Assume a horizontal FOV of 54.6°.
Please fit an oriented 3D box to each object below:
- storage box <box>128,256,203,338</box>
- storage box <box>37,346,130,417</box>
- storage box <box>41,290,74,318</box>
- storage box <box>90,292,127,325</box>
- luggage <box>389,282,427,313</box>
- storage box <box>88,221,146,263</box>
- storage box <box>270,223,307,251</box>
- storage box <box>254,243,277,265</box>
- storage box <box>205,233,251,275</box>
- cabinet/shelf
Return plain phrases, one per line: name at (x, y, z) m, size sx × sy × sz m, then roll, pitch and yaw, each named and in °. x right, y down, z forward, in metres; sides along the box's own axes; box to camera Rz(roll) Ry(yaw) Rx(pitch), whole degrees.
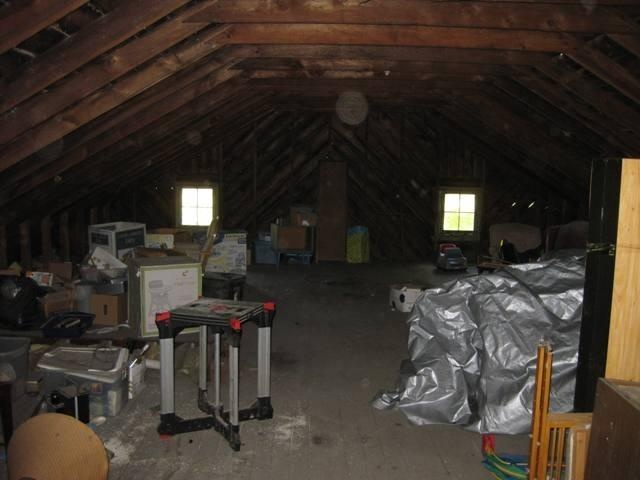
storage box at (-1.332, 0.434, 5.243) m, size 0.643 × 0.545 × 0.667 m, roll 5°, pitch 8°, yaw 37°
storage box at (-1.924, 1.073, 5.015) m, size 0.579 × 0.266 × 0.554 m, roll 5°, pitch 17°, yaw 2°
storage box at (-2.641, 0.617, 6.239) m, size 0.271 × 0.075 × 0.266 m, roll -16°, pitch 20°, yaw -37°
storage box at (-1.885, 0.583, 5.590) m, size 0.264 × 0.289 × 0.269 m, roll 3°, pitch 13°, yaw 4°
luggage at (1.131, 0.724, 7.980) m, size 0.480 × 0.255 × 0.352 m, roll 1°, pitch 5°, yaw 11°
storage box at (-2.440, -0.069, 7.262) m, size 0.549 × 0.444 × 0.573 m, roll 9°, pitch 14°, yaw 28°
storage box at (-0.564, -0.096, 11.049) m, size 0.460 × 0.319 × 0.472 m, roll -1°, pitch 5°, yaw -11°
storage box at (-0.980, 0.194, 11.585) m, size 0.478 × 0.505 × 0.353 m, roll 1°, pitch 3°, yaw 11°
storage box at (-1.388, 0.194, 9.169) m, size 0.575 × 0.628 × 0.224 m, roll -1°, pitch 11°, yaw -15°
cabinet/shelf at (0.210, -0.533, 11.609) m, size 0.552 × 1.846 × 0.406 m, roll 2°, pitch 11°, yaw -1°
